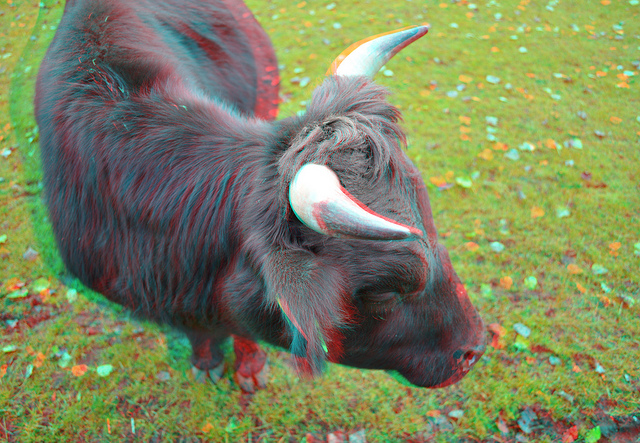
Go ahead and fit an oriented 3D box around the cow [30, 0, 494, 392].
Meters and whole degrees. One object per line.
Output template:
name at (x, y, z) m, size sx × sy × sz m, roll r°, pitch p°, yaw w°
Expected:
cow at (-0.669, -0.094, 5.736) m, size 3.952 × 2.090 × 2.072 m, roll 39°, pitch 61°, yaw 11°
